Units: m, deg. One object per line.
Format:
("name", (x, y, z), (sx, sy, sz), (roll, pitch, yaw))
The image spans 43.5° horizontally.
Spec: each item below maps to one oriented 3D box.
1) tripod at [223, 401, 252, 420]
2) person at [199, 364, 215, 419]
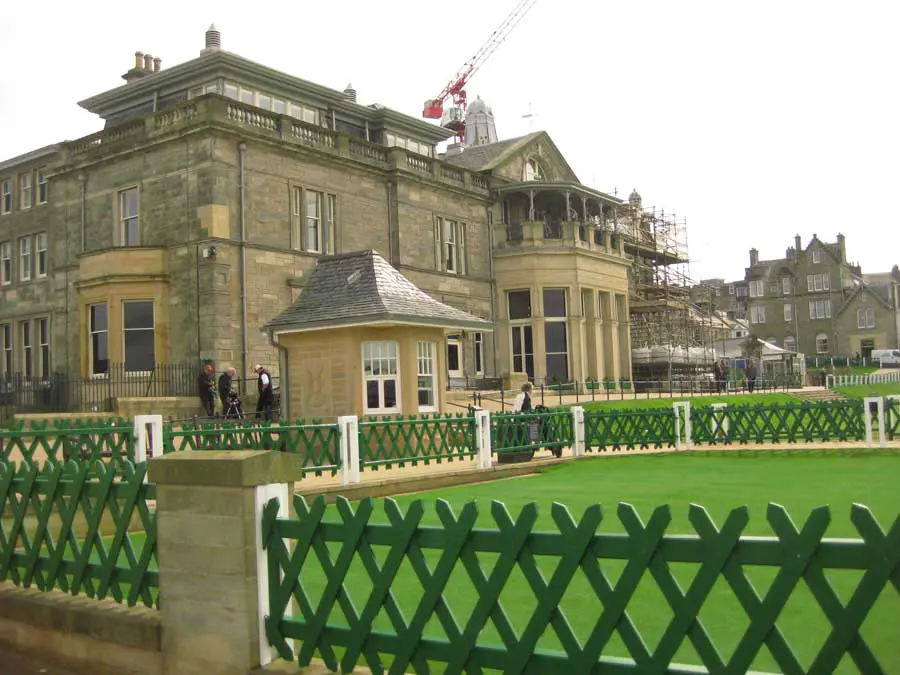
("tripod", (-5.481, 1.870, 28.911), (0.533, 0.605, 0.441), (0, 1, -31))
("person", (-6.206, 1.347, 28.821), (0.411, 1.444, 1.018), (2, 0, -13))
